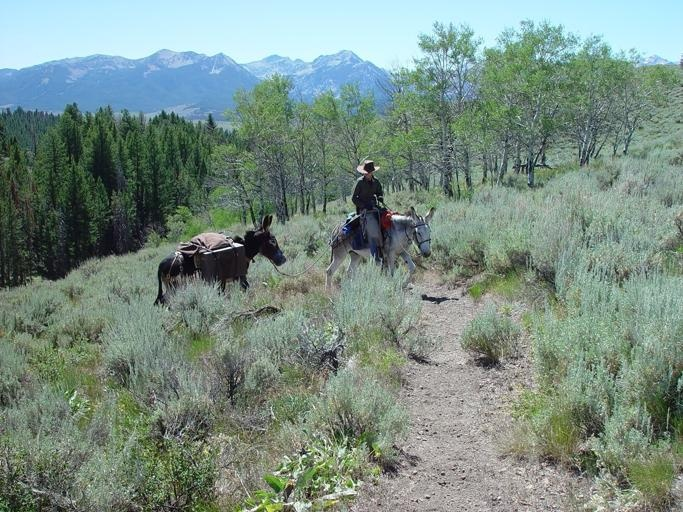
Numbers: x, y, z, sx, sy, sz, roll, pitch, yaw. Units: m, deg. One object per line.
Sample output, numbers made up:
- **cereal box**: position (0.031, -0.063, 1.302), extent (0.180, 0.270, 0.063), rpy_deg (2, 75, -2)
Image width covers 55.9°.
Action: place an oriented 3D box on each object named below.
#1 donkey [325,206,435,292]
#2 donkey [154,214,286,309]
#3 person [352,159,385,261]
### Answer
- **donkey**: position (0.938, -0.384, 15.543), extent (1.857, 2.363, 1.945), rpy_deg (-7, 13, -36)
- **donkey**: position (-2.672, 0.061, 15.333), extent (2.308, 2.363, 2.890), rpy_deg (-1, 9, 8)
- **person**: position (0.712, -1.021, 15.603), extent (0.712, 2.686, 0.742), rpy_deg (-1, 17, 23)
